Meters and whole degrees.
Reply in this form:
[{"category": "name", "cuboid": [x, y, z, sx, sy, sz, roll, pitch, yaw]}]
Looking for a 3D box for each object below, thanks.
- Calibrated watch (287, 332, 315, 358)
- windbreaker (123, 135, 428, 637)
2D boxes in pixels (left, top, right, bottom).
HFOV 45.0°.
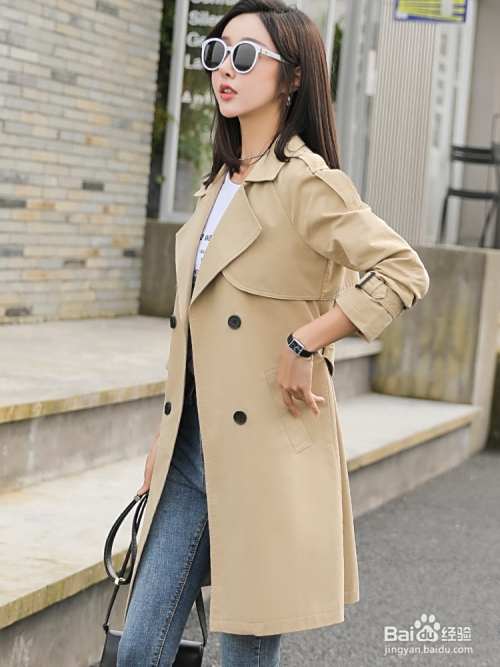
[{"category": "Calibrated watch", "cuboid": [0.074, 0.022, 0.923, 0.026, 0.046, 0.042, -32, 2, 3]}, {"category": "windbreaker", "cuboid": [0.036, 0.096, 1.089, 0.491, 0.882, 0.337, 8, 11, 15]}]
